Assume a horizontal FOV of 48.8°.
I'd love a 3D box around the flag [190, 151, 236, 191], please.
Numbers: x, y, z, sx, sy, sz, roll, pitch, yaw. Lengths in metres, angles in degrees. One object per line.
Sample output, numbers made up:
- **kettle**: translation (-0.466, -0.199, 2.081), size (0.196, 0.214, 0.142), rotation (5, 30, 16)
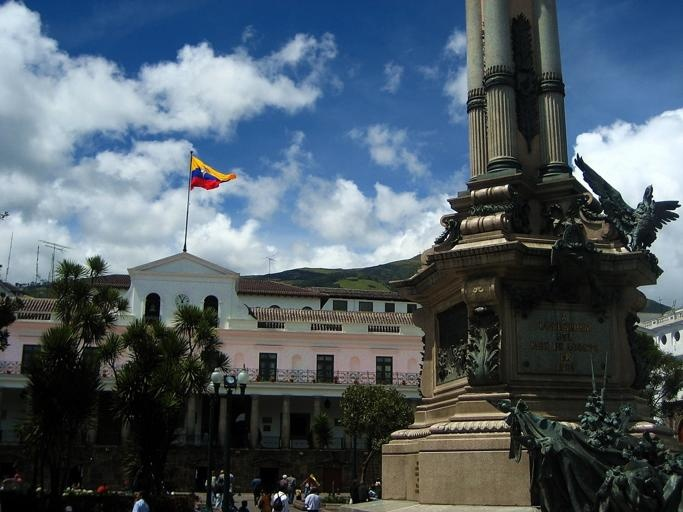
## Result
- **flag**: translation (-9.323, -5.629, 54.238), size (3.371, 4.820, 0.539), rotation (1, -35, -6)
